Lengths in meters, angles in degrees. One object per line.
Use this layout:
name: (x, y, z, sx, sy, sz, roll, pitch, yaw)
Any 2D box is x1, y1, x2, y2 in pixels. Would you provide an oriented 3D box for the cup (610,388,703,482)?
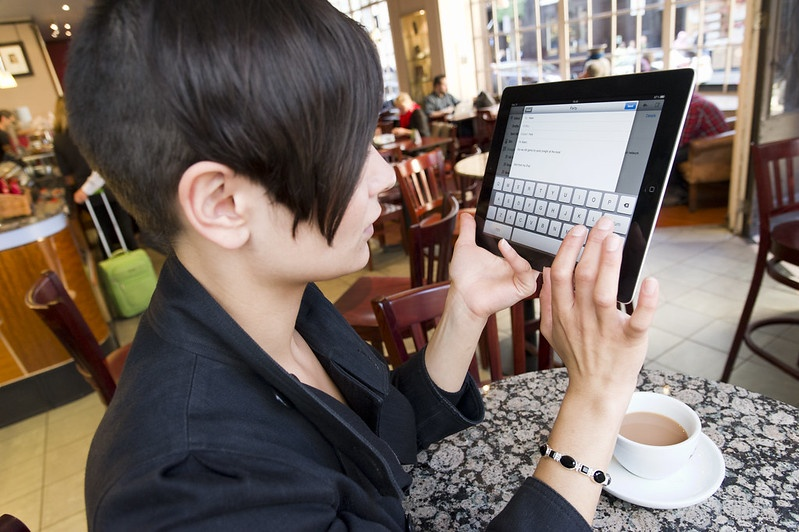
cup: (0.549, 0.398, 1.247, 0.177, 0.127, 0.185, 15, -7, 2)

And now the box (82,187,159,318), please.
box: (-1.962, -0.085, 3.971, 0.284, 0.913, 0.249, -24, 31, -34)

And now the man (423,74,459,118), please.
man: (0.508, -2.356, 8.150, 0.535, 0.750, 0.440, -2, 20, 6)

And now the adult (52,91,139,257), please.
adult: (-2.686, -0.575, 5.018, 0.305, 1.111, 0.280, -12, 12, -14)

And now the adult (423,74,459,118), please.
adult: (0.612, -2.383, 8.169, 0.488, 0.677, 0.379, -16, 18, -32)
